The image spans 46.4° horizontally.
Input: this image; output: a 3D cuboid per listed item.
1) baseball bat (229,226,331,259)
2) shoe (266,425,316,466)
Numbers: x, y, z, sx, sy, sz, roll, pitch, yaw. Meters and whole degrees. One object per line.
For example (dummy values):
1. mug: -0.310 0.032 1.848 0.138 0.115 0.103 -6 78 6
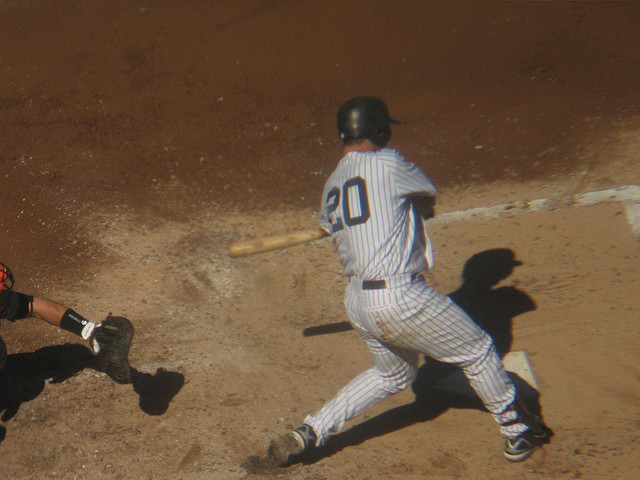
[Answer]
1. baseball bat: -0.447 0.035 8.529 1.489 0.150 0.177 -7 44 -5
2. shoe: -0.238 1.779 6.423 0.434 0.382 0.188 -10 10 -6
